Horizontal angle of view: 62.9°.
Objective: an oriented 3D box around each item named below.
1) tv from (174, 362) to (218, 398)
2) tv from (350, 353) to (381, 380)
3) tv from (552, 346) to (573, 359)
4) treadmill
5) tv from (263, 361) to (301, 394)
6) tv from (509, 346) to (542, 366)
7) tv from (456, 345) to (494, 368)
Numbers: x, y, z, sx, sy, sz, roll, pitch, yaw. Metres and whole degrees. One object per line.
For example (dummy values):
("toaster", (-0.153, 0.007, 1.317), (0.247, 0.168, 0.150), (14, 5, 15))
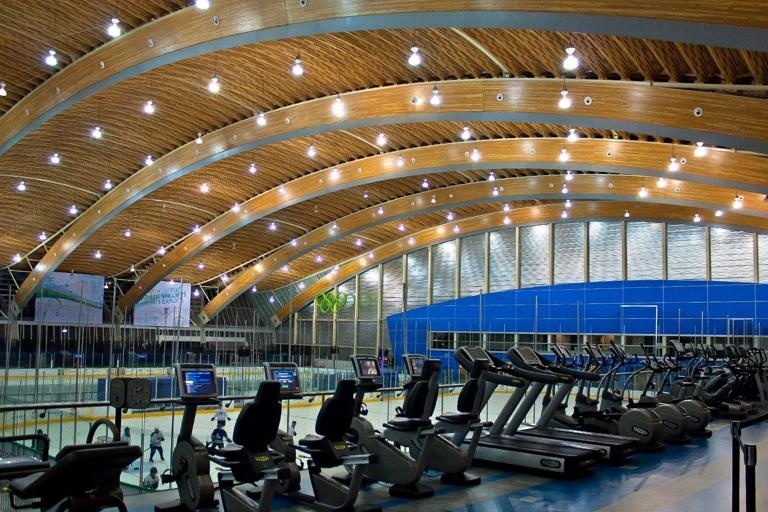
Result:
("tv", (-2.613, 1.755, 8.622), (0.303, 0.493, 0.638), (-17, -19, 31))
("tv", (-0.331, 1.874, 10.533), (0.643, 0.411, 0.440), (3, -13, -23))
("tv", (3.959, 2.137, 14.065), (0.491, 0.217, 0.933), (13, -7, 17))
("treadmill", (2.117, 2.722, 11.714), (3.112, 1.929, 2.359), (-8, -9, 43))
("tv", (-1.453, 1.870, 9.584), (0.673, 0.513, 0.254), (-11, 9, 38))
("tv", (2.495, 1.804, 11.269), (0.441, 0.177, 0.540), (3, 2, -12))
("tv", (1.468, 1.631, 10.337), (0.504, 0.120, 0.431), (7, 10, -18))
